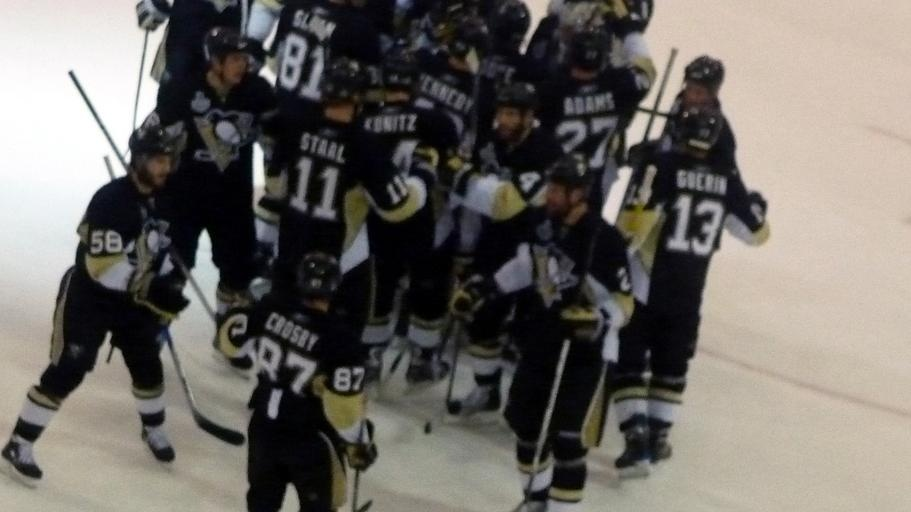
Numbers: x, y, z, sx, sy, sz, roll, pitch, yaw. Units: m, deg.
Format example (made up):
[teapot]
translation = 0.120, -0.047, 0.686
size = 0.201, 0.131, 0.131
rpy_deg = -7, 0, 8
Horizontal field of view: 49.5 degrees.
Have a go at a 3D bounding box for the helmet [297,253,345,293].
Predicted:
[helmet]
translation = -1.185, 0.162, 8.563
size = 0.370, 0.323, 0.281
rpy_deg = 9, 9, 0

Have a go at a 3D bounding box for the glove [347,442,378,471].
[glove]
translation = -0.814, 1.731, 8.688
size = 0.230, 0.278, 0.130
rpy_deg = 5, 16, -5

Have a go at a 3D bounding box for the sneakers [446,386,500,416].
[sneakers]
translation = 0.198, 1.515, 10.223
size = 0.514, 0.276, 0.186
rpy_deg = -18, -17, -1
